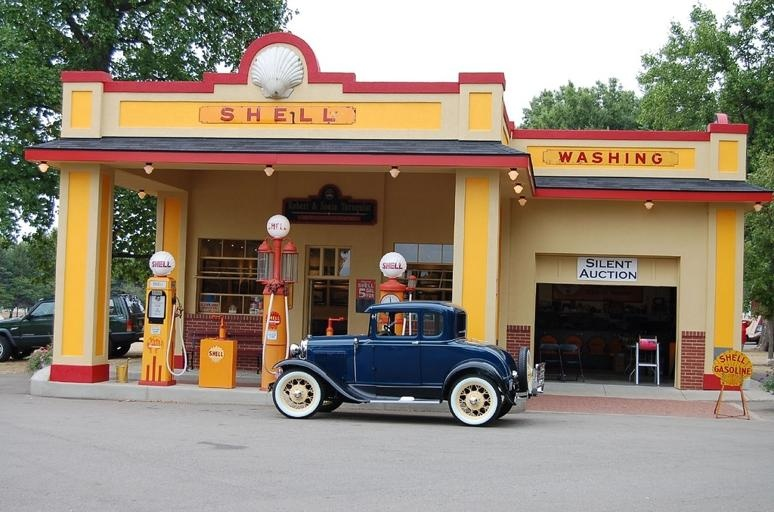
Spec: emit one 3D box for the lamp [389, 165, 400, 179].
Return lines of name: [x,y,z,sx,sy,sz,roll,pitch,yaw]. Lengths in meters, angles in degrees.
lamp: [0.127,-2.015,18.512,0.348,0.314,0.340,-3,2,11]

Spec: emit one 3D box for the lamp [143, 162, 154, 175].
lamp: [-5.837,-2.157,19.013,0.355,0.326,0.349,-3,8,-22]

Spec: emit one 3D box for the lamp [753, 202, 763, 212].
lamp: [10.191,-1.320,20.925,0.246,0.213,0.279,1,-14,11]

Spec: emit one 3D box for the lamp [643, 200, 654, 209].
lamp: [7.353,-1.423,21.320,0.257,0.143,0.263,-1,-7,-2]

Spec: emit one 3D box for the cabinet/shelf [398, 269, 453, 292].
cabinet/shelf: [1.252,0.739,22.221,1.299,0.682,0.794,1,4,6]
